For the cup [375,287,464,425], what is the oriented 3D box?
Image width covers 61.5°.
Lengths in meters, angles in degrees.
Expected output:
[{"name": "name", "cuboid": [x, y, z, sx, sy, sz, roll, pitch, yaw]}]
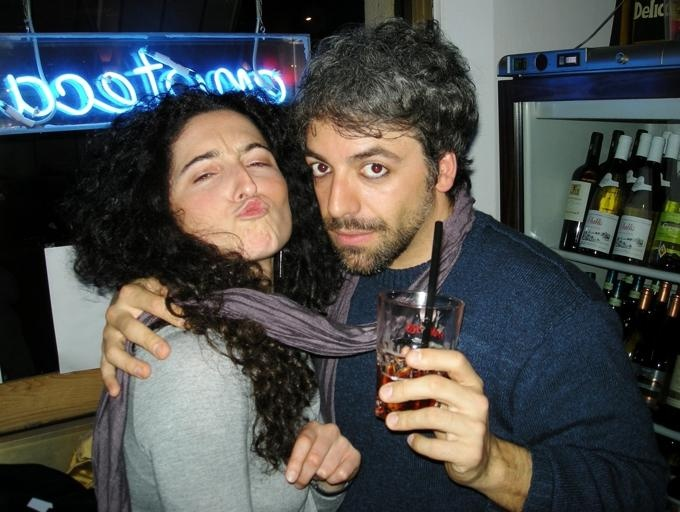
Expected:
[{"name": "cup", "cuboid": [0.198, 0.260, 1.431, 0.211, 0.320, 0.186, 1, 12, 3]}]
